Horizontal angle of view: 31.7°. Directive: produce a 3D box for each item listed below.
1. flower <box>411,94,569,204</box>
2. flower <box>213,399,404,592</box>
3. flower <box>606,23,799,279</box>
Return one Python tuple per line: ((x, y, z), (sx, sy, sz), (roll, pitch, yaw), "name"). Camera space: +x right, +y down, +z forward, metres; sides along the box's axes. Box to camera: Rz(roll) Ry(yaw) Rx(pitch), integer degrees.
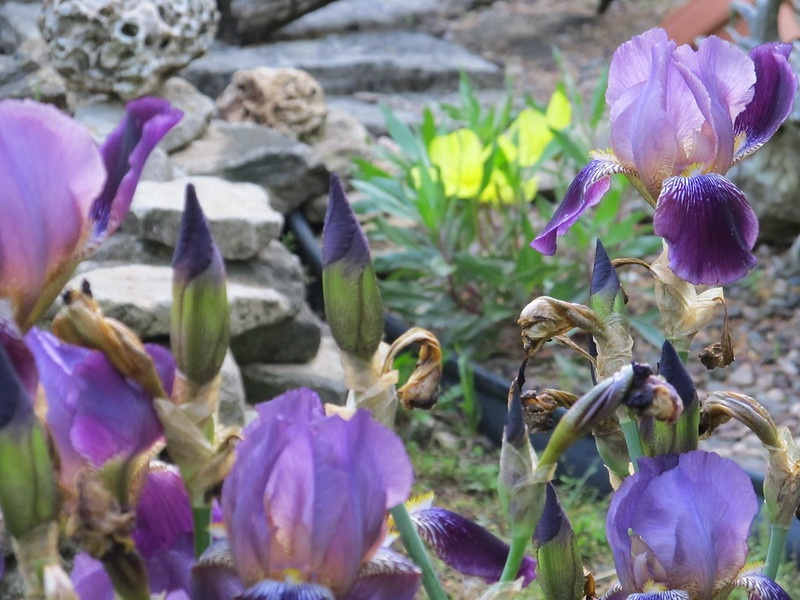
((0.324, -0.435, 4.841), (0.409, 0.198, 0.434), (-36, 12, -28), "flower")
((-0.141, 0.275, 2.465), (0.256, 0.318, 0.319), (4, 15, 7), "flower")
((0.540, -0.309, 2.663), (0.338, 0.506, 0.428), (-11, 28, 0), "flower")
